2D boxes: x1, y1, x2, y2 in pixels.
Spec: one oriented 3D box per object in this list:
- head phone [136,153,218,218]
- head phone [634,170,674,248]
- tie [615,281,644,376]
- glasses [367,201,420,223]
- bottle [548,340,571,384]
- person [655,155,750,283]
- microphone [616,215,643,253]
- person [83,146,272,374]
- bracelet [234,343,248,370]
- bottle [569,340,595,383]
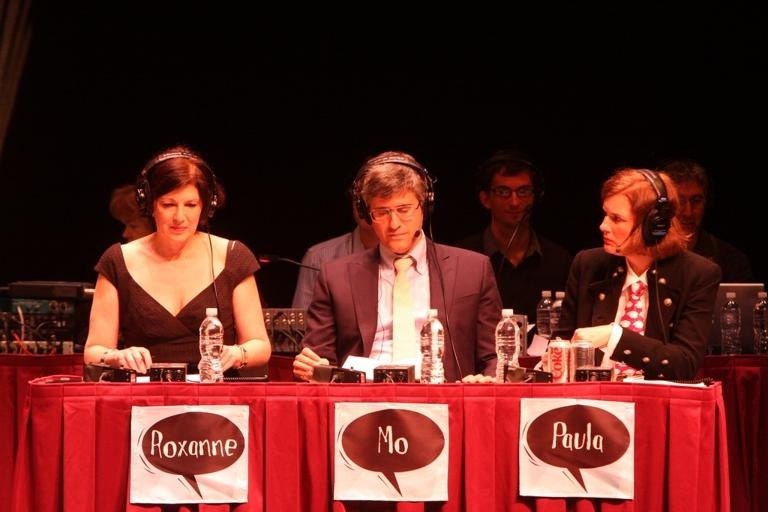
[{"bbox_3d":[-1.146,-0.400,4.155,0.439,0.368,0.197,-3,6,-18],"label":"head phone"},{"bbox_3d":[1.479,-0.248,4.130,0.169,0.407,0.426,-2,1,-4],"label":"head phone"},{"bbox_3d":[1.321,0.401,4.035,0.111,0.465,0.128,9,-7,-4],"label":"tie"},{"bbox_3d":[0.061,-0.247,4.016,0.252,0.112,0.058,1,-6,4],"label":"glasses"},{"bbox_3d":[0.838,0.502,3.610,0.124,0.203,0.122,0,2,0],"label":"bottle"},{"bbox_3d":[2.801,-0.309,6.485,0.899,1.186,0.447,0,0,17],"label":"person"},{"bbox_3d":[1.346,-0.127,4.139,0.129,0.148,0.169,-1,-33,15],"label":"microphone"},{"bbox_3d":[-1.138,0.073,4.129,0.994,1.210,0.913,0,10,-13],"label":"person"},{"bbox_3d":[-0.731,0.520,3.887,0.055,0.103,0.090,0,-40,-22],"label":"bracelet"},{"bbox_3d":[0.973,0.517,3.709,0.136,0.205,0.130,0,0,0],"label":"bottle"}]
